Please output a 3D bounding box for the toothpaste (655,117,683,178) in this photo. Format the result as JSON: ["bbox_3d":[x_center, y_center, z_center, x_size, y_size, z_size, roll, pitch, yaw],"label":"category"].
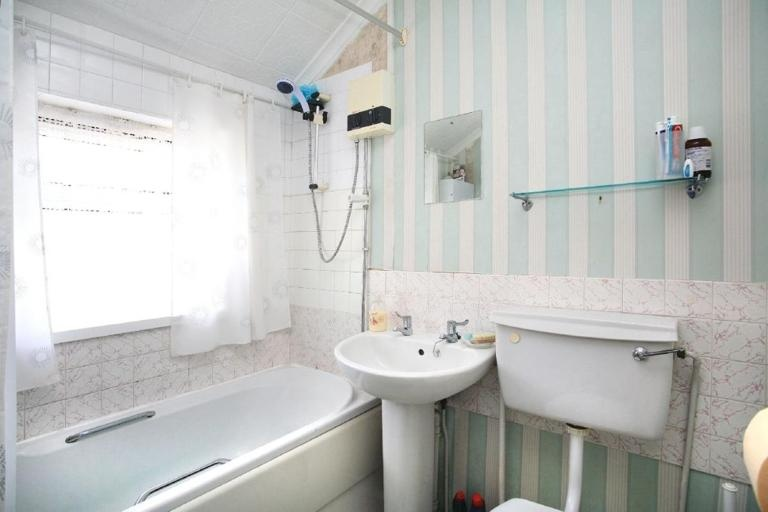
[{"bbox_3d":[1.434,-0.536,2.655,0.127,0.323,0.062,-1,0,15],"label":"toothpaste"}]

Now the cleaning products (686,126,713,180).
[{"bbox_3d":[1.566,-0.510,2.622,0.119,0.225,0.123,-12,10,-16],"label":"cleaning products"}]
